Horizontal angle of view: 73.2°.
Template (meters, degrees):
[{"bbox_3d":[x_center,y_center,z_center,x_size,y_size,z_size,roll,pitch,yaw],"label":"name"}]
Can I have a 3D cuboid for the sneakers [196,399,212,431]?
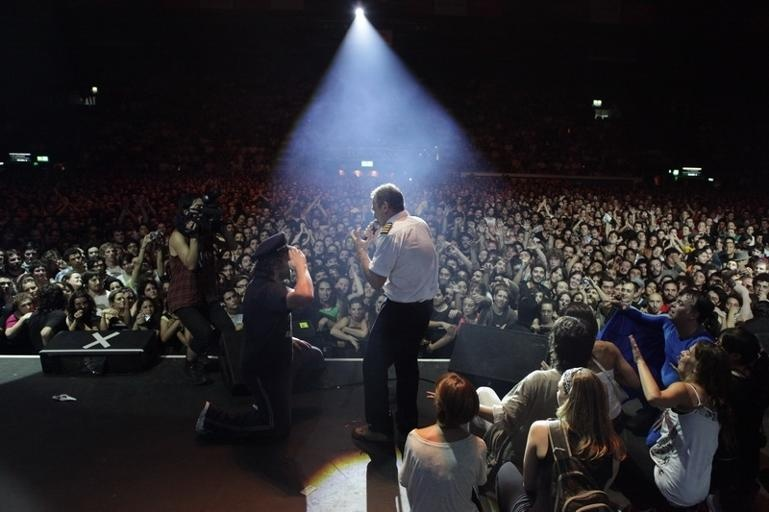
[{"bbox_3d":[-1.982,1.709,5.597,0.122,0.313,0.237,10,-16,3],"label":"sneakers"}]

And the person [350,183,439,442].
[{"bbox_3d":[0.104,0.617,5.455,0.848,2.742,0.336,3,4,4],"label":"person"}]

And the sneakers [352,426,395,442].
[{"bbox_3d":[-0.148,1.915,5.527,0.205,0.075,0.296,5,-13,-41],"label":"sneakers"}]

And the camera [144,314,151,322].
[{"bbox_3d":[-3.235,0.841,7.051,0.069,0.089,0.030,3,-8,-16],"label":"camera"}]

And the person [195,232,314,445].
[{"bbox_3d":[-1.257,0.873,5.367,1.142,2.224,0.322,4,4,22],"label":"person"}]

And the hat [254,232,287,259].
[{"bbox_3d":[-1.170,-0.084,5.303,0.298,0.115,0.251,-31,22,-22],"label":"hat"}]
